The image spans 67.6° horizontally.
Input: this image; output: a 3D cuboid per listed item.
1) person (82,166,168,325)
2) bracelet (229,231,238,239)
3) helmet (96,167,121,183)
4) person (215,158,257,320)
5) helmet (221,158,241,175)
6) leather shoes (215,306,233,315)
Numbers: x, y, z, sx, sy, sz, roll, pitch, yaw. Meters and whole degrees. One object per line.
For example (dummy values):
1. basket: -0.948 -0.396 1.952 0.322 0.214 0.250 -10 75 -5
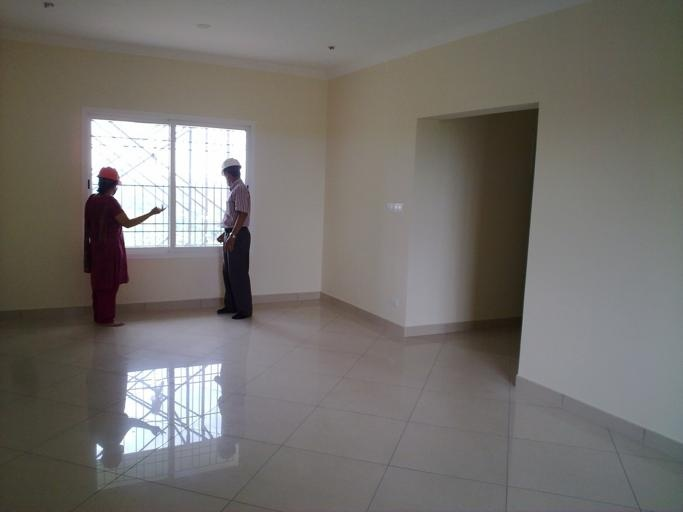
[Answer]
1. person: -2.478 -0.094 5.477 0.546 1.682 0.326 -5 14 -29
2. bracelet: -1.240 -0.242 5.798 0.061 0.063 0.080 10 4 -18
3. helmet: -2.469 -0.856 5.419 0.148 0.118 0.207 12 9 16
4. person: -1.271 -0.204 5.966 0.403 1.822 0.507 -1 13 -13
5. helmet: -1.289 -1.026 5.884 0.153 0.107 0.189 -12 16 -39
6. leather shoes: -1.422 0.649 6.150 0.171 0.185 0.085 3 0 -4
